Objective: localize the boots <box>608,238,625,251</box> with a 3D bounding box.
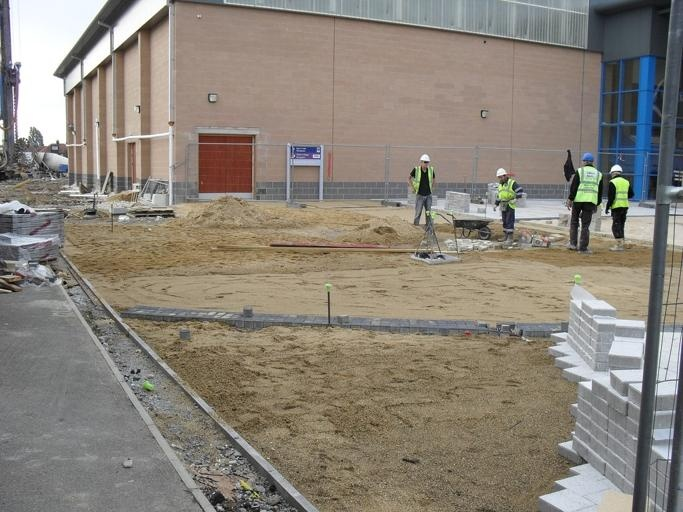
[{"bbox_3d":[7.069,-0.299,16.402,0.212,0.372,0.396,2,25,14],"label":"boots"}]
